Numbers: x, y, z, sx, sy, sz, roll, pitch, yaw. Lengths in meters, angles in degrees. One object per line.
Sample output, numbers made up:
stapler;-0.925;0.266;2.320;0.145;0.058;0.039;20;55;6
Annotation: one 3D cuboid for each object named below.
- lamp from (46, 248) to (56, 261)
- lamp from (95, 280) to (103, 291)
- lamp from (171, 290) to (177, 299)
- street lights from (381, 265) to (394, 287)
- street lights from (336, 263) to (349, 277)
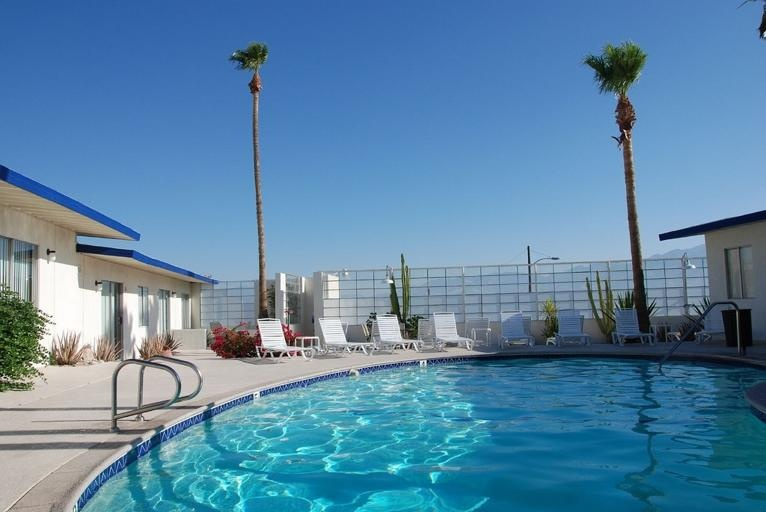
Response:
lamp;-8.439;-0.024;14.257;0.240;0.329;0.205;-5;-8;20
lamp;-8.566;0.885;16.773;0.258;0.261;0.245;1;-12;-14
lamp;-8.627;1.581;23.095;0.212;0.267;0.199;0;-8;-23
street lights;0.194;0.813;22.541;0.717;0.745;0.771;0;-7;9
street lights;-1.782;0.618;24.084;0.360;0.586;0.646;7;-9;-43
